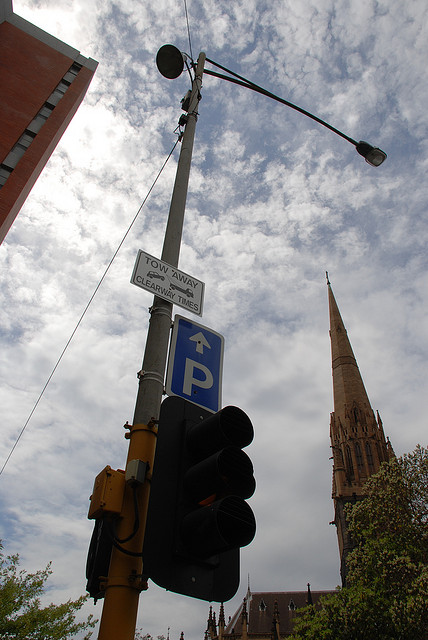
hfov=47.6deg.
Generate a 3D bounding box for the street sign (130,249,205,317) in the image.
[{"bbox_3d":[-0.367,-0.263,3.641,0.010,0.323,0.552,-31,-45,33],"label":"street sign"}]

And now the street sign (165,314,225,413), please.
[{"bbox_3d":[-0.168,0.350,3.480,0.484,0.666,0.065,35,-50,-27],"label":"street sign"}]

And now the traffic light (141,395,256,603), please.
[{"bbox_3d":[-0.061,0.845,2.511,0.533,1.034,0.633,3,-33,-3],"label":"traffic light"}]

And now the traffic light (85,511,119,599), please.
[{"bbox_3d":[-0.605,1.251,2.587,0.136,0.400,0.367,9,-34,-12],"label":"traffic light"}]
